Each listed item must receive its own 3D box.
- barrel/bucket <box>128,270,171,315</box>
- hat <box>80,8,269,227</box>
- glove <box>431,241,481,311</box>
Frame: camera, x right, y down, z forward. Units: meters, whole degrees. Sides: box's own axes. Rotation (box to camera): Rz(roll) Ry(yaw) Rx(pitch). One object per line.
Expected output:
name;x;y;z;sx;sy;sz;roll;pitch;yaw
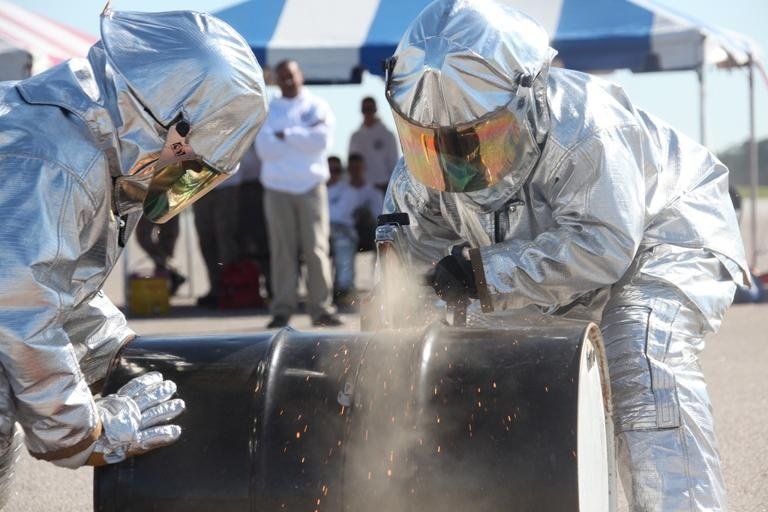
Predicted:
barrel/bucket;-1.775;0.283;13.628;0.293;0.279;0.292;0;6;0
hat;-0.941;-0.658;8.400;0.964;0.917;0.795;13;21;-21
glove;0.342;0.106;8.774;0.219;0.126;0.275;22;71;6
